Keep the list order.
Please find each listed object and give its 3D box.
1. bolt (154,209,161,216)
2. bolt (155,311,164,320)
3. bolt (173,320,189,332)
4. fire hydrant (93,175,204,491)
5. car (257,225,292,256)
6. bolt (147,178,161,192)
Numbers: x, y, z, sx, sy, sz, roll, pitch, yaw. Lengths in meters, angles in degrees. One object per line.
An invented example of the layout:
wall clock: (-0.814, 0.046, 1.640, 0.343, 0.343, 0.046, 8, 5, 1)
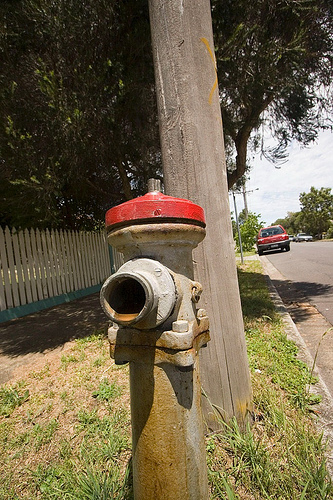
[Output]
bolt: (-0.035, -0.145, 1.201, 0.020, 0.022, 0.005, 3, 4, 1)
bolt: (-0.024, 0.236, 1.169, 0.033, 0.035, 0.010, 3, 1, 6)
bolt: (0.059, 0.276, 1.184, 0.039, 0.029, 0.042, -6, -6, 42)
fire hydrant: (-0.046, 0.351, 1.272, 0.380, 0.904, 0.356, -3, 2, 5)
car: (6.318, -0.627, 18.935, 1.794, 1.700, 1.431, -3, 2, 17)
bolt: (-0.057, -0.296, 1.423, 0.052, 0.083, 0.130, -4, 2, -3)
